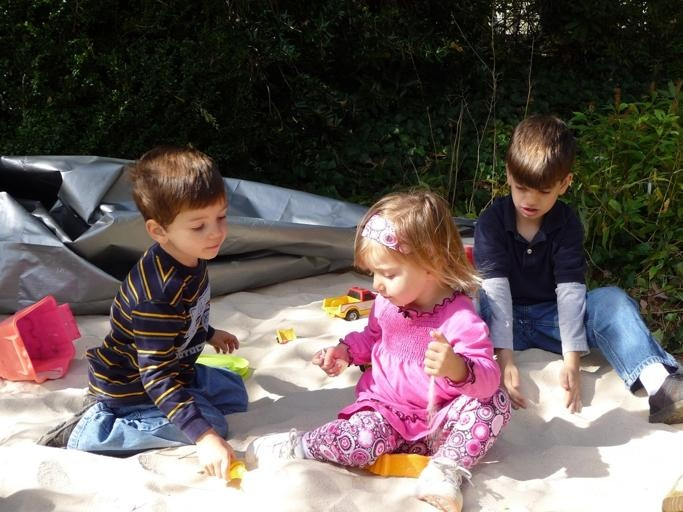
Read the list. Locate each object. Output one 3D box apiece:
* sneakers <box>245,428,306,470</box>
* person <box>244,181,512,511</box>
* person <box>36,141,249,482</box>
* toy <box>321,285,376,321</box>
[{"bbox_3d":[-0.265,0.809,2.298,0.263,0.118,0.113,-4,-15,-1],"label":"sneakers"},{"bbox_3d":[0.328,0.263,2.824,1.256,1.357,1.159,-7,7,-33],"label":"person"},{"bbox_3d":[-0.847,0.218,2.413,0.755,1.343,0.704,-3,10,-4],"label":"person"},{"bbox_3d":[0.053,0.318,3.676,0.312,0.137,0.183,-16,21,-35],"label":"toy"}]
